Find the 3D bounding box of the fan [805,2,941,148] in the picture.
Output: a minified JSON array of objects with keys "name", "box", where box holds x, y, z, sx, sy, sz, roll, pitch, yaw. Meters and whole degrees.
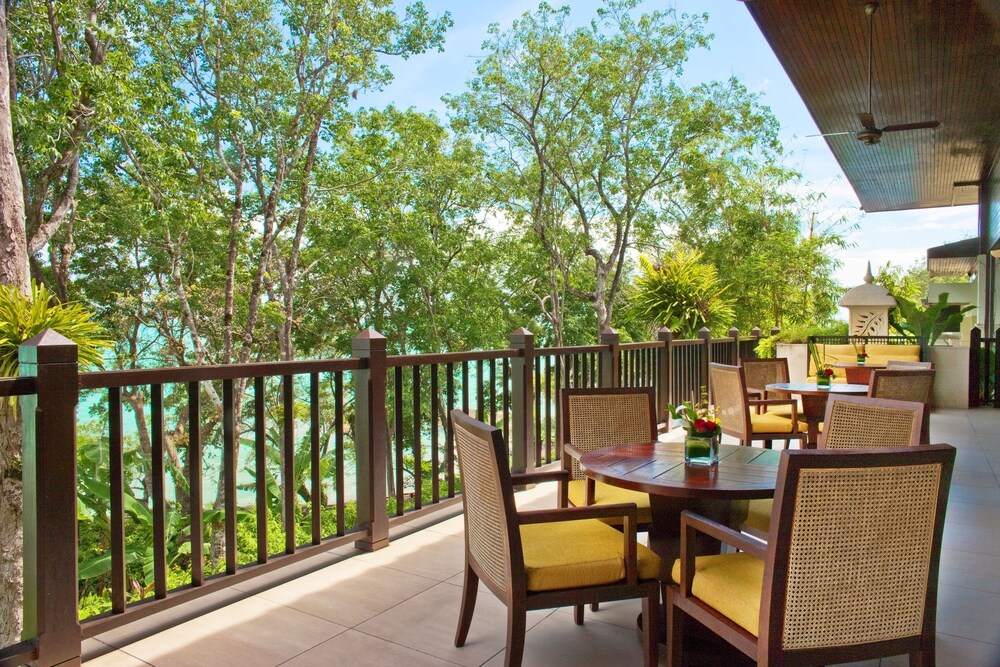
[{"name":"fan","box":[5.121,-3.232,10.334,1.233,2.062,1.020,4,5,43]}]
